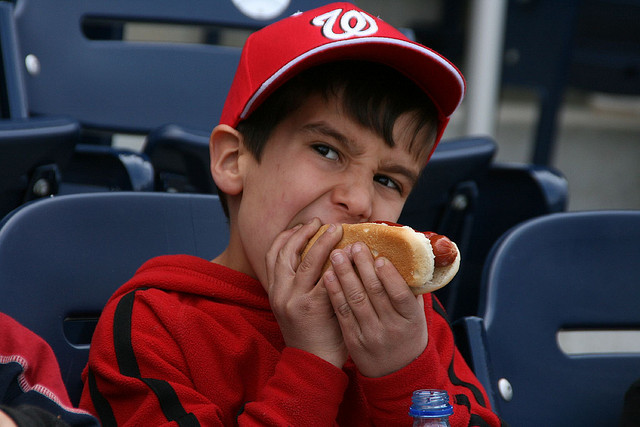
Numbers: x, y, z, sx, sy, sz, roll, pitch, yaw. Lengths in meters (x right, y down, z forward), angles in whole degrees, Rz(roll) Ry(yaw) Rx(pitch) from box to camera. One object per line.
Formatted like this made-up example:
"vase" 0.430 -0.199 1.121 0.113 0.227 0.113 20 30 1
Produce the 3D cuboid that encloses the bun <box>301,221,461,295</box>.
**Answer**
"bun" 0.165 0.088 1.458 0.270 0.102 0.145 5 18 16

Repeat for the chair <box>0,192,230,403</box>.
"chair" -0.628 0.215 1.924 0.629 0.704 0.490 7 -17 -25
